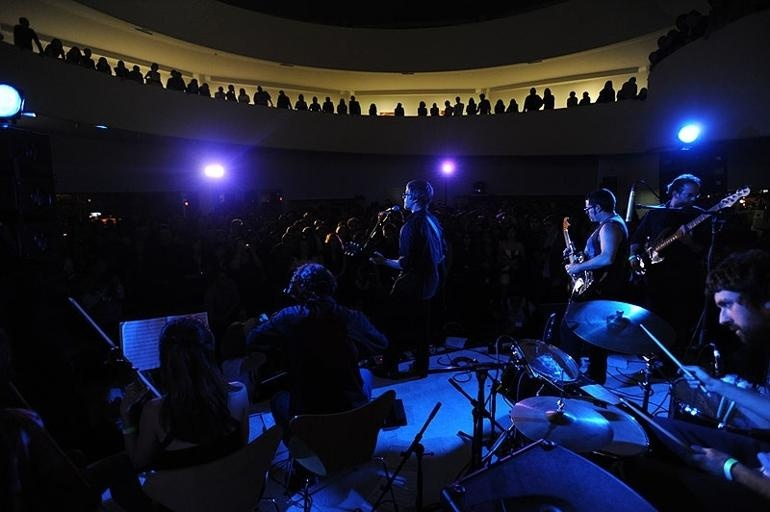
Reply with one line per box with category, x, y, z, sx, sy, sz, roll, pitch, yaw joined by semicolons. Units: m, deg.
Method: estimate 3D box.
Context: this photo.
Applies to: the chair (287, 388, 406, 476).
chair;-0.436;1.799;5.458;0.994;0.724;0.871;-2;6;-24
